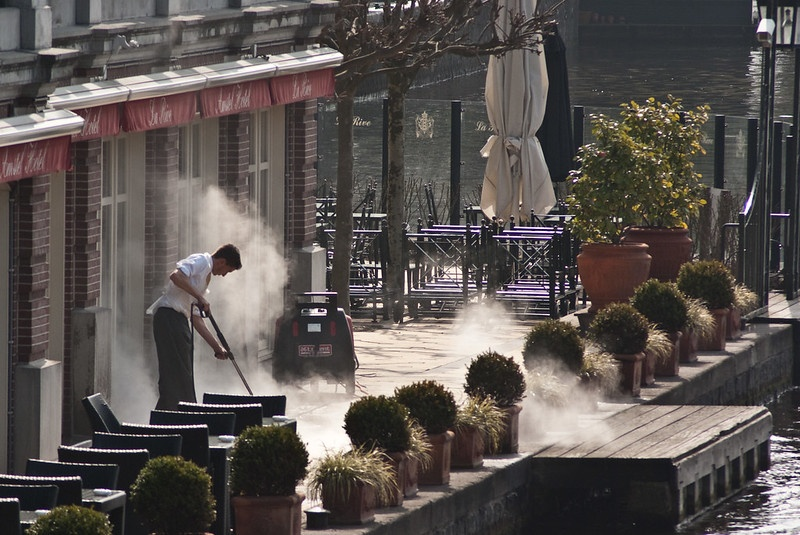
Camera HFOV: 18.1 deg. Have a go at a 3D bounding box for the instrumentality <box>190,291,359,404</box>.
[{"bbox_3d":[-1.535,0.870,31.282,1.805,1.308,1.035,-2,5,0],"label":"instrumentality"}]

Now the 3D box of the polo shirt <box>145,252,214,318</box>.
[{"bbox_3d":[-2.530,0.197,29.288,0.478,0.924,0.798,22,-3,11],"label":"polo shirt"}]

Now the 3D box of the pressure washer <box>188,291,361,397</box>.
[{"bbox_3d":[-1.473,0.940,31.987,2.444,1.345,1.457,-4,-6,24],"label":"pressure washer"}]

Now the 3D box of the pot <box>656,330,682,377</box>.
[{"bbox_3d":[3.537,1.130,32.894,0.504,0.544,0.487,0,2,0],"label":"pot"}]

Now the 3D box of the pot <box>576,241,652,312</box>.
[{"bbox_3d":[2.837,0.113,34.454,0.958,0.858,0.968,3,4,0],"label":"pot"}]

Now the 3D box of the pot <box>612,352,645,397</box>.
[{"bbox_3d":[2.899,1.331,31.676,0.526,0.561,0.460,0,0,27],"label":"pot"}]

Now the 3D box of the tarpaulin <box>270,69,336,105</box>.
[{"bbox_3d":[-1.248,-2.321,32.067,0.039,0.399,1.674,3,9,25],"label":"tarpaulin"}]

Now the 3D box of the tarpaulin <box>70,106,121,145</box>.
[{"bbox_3d":[-3.551,-1.698,28.577,0.518,0.097,0.500,14,-8,-27],"label":"tarpaulin"}]

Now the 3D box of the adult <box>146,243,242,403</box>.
[{"bbox_3d":[-2.496,0.819,29.337,0.993,2.240,0.984,9,-3,-3],"label":"adult"}]

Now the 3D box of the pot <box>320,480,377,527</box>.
[{"bbox_3d":[-0.550,2.498,26.898,0.550,0.380,0.346,-4,-23,-2],"label":"pot"}]

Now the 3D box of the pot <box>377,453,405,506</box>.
[{"bbox_3d":[-0.054,2.283,27.425,0.484,0.534,0.472,0,-1,0],"label":"pot"}]

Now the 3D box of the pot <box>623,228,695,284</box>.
[{"bbox_3d":[3.656,-0.193,35.360,0.805,0.663,0.807,2,-2,0],"label":"pot"}]

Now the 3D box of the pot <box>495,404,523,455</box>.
[{"bbox_3d":[1.272,1.855,29.186,0.198,0.481,0.453,-1,0,39],"label":"pot"}]

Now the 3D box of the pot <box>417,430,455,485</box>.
[{"bbox_3d":[0.422,2.118,28.013,0.541,0.603,0.531,0,1,0],"label":"pot"}]

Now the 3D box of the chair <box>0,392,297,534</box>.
[{"bbox_3d":[-2.327,2.272,27.129,1.728,1.263,1.678,1,5,22],"label":"chair"}]
